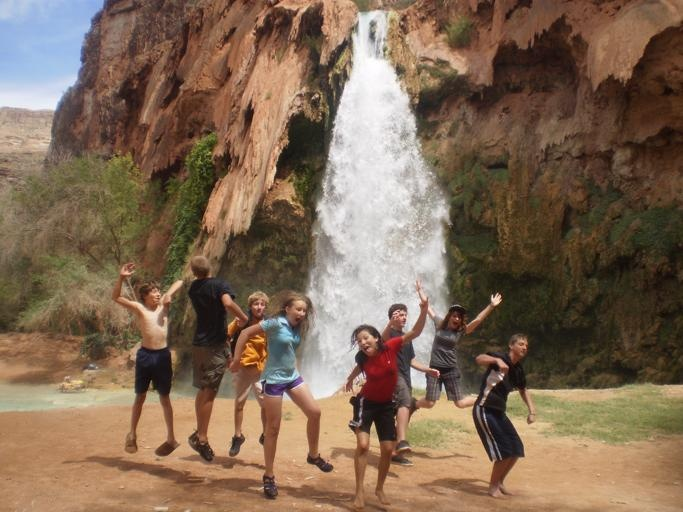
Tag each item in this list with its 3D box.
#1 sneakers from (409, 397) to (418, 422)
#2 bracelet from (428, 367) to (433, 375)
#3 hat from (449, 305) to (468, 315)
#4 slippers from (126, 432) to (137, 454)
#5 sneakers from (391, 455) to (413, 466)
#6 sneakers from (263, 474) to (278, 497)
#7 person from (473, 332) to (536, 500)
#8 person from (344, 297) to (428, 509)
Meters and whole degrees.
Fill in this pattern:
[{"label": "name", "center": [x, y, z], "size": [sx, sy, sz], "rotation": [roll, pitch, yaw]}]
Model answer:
[{"label": "sneakers", "center": [1.399, 2.886, 13.229], "size": [0.153, 0.539, 0.217], "rotation": [9, -28, 4]}, {"label": "bracelet", "center": [1.649, 2.123, 12.630], "size": [0.099, 0.136, 0.203], "rotation": [3, 8, 8]}, {"label": "hat", "center": [2.249, 0.981, 13.231], "size": [0.281, 0.188, 0.565], "rotation": [3, 8, 10]}, {"label": "slippers", "center": [-3.749, 3.324, 12.225], "size": [0.146, 0.193, 0.487], "rotation": [2, -48, -12]}, {"label": "sneakers", "center": [1.151, 3.811, 12.875], "size": [0.397, 0.202, 0.159], "rotation": [0, -1, 8]}, {"label": "sneakers", "center": [-1.161, 3.763, 11.286], "size": [0.236, 0.321, 0.282], "rotation": [1, 7, -6]}, {"label": "person", "center": [2.828, 2.746, 11.997], "size": [0.982, 2.680, 0.730], "rotation": [0, 7, -11]}, {"label": "person", "center": [0.696, 2.597, 11.439], "size": [1.104, 2.909, 1.010], "rotation": [0, 7, -9]}]
